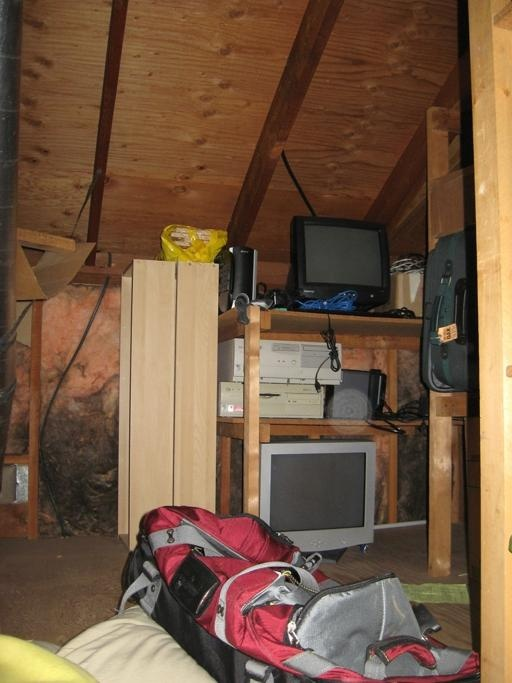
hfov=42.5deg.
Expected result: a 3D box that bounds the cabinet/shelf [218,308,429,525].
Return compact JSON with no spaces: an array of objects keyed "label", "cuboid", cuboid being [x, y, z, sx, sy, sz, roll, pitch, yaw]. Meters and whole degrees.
[{"label":"cabinet/shelf","cuboid":[0.224,0.281,2.422,0.955,0.837,0.360,4,-9,-18]}]

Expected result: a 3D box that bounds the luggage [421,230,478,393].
[{"label":"luggage","cuboid":[0.564,-0.087,1.954,0.138,0.471,0.283,0,-6,11]}]
